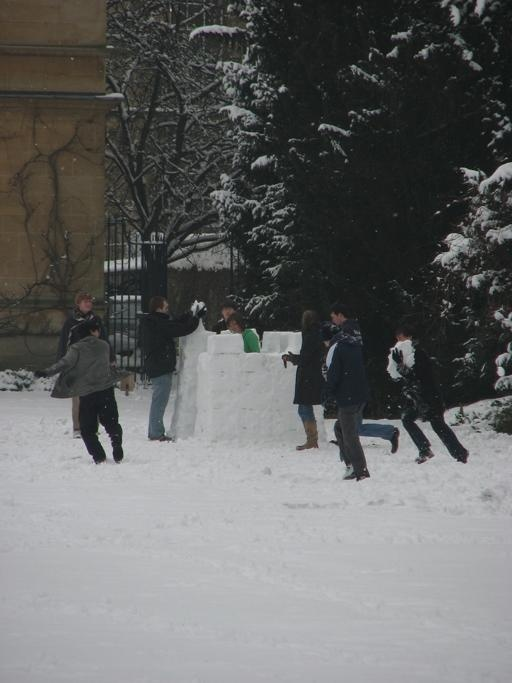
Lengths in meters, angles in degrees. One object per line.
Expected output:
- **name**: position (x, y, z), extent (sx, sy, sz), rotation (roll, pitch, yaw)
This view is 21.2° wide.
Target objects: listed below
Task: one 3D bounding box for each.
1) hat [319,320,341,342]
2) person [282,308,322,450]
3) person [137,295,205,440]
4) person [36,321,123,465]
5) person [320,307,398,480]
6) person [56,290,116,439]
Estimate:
- **hat**: position (0.726, -0.071, 14.386), extent (0.178, 0.105, 0.270), rotation (-2, 37, 0)
- **person**: position (0.466, 0.413, 14.259), extent (0.431, 1.439, 0.587), rotation (1, 6, 1)
- **person**: position (-1.038, 0.303, 15.012), extent (0.561, 1.551, 0.799), rotation (4, 7, 28)
- **person**: position (-1.683, 0.477, 13.508), extent (0.711, 1.285, 1.050), rotation (-1, 7, -13)
- **person**: position (0.826, 0.463, 12.696), extent (0.413, 1.519, 0.968), rotation (1, 6, 3)
- **person**: position (-1.891, 0.244, 14.862), extent (0.605, 1.557, 0.291), rotation (1, -16, -10)
